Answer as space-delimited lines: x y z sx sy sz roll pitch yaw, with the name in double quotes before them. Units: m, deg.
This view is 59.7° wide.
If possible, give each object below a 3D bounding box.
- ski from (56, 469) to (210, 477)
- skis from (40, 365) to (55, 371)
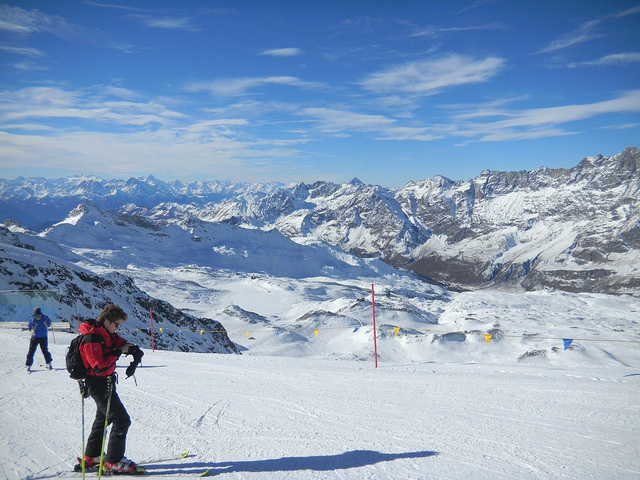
"ski" -6.029 7.256 17.384 3.975 0.132 0.242 2 -23 -3
"skis" -11.863 5.518 24.055 0.635 0.131 0.154 12 10 24
